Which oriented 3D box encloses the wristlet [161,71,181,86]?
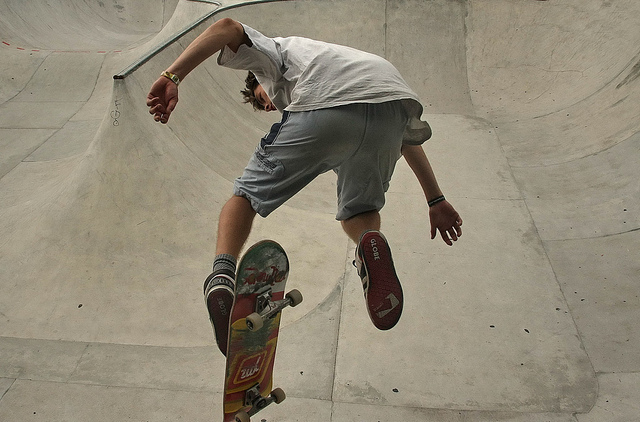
[{"bbox_3d":[-1.188,-1.066,3.640,0.104,0.029,0.106,38,-5,-3],"label":"wristlet"}]

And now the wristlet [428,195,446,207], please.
[{"bbox_3d":[1.124,-0.098,4.417,0.114,0.030,0.082,-27,3,7],"label":"wristlet"}]

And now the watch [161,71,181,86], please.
[{"bbox_3d":[-1.195,-1.062,3.662,0.103,0.029,0.106,37,-6,7],"label":"watch"}]
